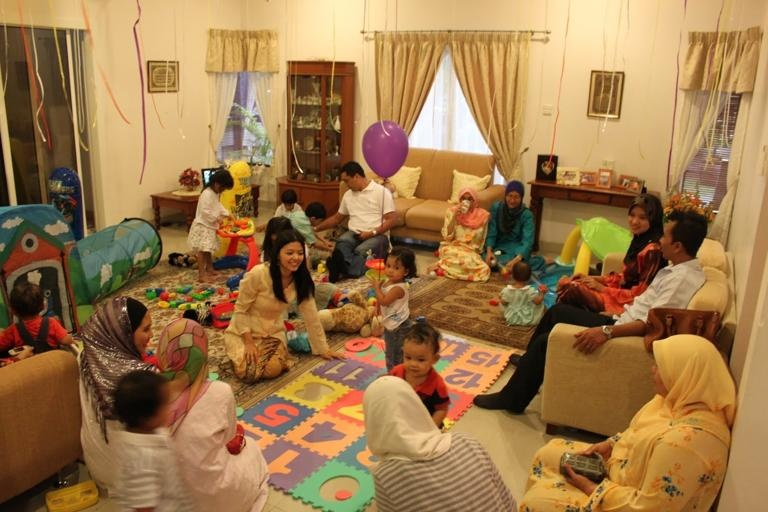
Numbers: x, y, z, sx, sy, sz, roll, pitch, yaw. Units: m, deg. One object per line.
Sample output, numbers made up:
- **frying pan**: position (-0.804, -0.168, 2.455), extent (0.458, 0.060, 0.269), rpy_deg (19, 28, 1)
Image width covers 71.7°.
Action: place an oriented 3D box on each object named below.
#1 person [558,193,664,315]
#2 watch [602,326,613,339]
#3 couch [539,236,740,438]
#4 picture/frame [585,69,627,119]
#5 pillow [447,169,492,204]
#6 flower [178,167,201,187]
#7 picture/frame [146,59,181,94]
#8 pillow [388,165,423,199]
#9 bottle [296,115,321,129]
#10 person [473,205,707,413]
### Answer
- **person**: position (2.063, 0.157, 4.872), extent (0.827, 1.462, 0.653), rpy_deg (6, 10, 14)
- **watch**: position (1.584, 0.530, 3.760), extent (0.067, 0.084, 0.084), rpy_deg (5, 50, 10)
- **couch**: position (1.818, 0.300, 3.758), extent (1.054, 0.998, 1.894), rpy_deg (11, 29, 34)
- **picture/frame**: position (2.930, -2.145, 6.961), extent (0.528, 0.759, 0.090), rpy_deg (10, 20, 22)
- **pillow**: position (1.207, -0.961, 7.357), extent (0.485, 0.431, 0.189), rpy_deg (11, 8, 25)
- **flower**: position (-2.979, -1.187, 8.127), extent (0.313, 0.320, 0.324), rpy_deg (-1, 11, 13)
- **picture/frame**: position (-3.276, -2.652, 7.828), extent (0.045, 0.425, 0.561), rpy_deg (10, 15, 26)
- **pillow**: position (0.291, -1.049, 7.559), extent (0.481, 0.570, 0.300), rpy_deg (9, -5, -11)
- **bottle**: position (-1.183, -2.097, 8.370), extent (0.256, 0.098, 0.261), rpy_deg (1, 8, 0)
- **person**: position (1.502, 0.279, 4.369), extent (1.345, 1.788, 0.835), rpy_deg (1, 26, -19)
